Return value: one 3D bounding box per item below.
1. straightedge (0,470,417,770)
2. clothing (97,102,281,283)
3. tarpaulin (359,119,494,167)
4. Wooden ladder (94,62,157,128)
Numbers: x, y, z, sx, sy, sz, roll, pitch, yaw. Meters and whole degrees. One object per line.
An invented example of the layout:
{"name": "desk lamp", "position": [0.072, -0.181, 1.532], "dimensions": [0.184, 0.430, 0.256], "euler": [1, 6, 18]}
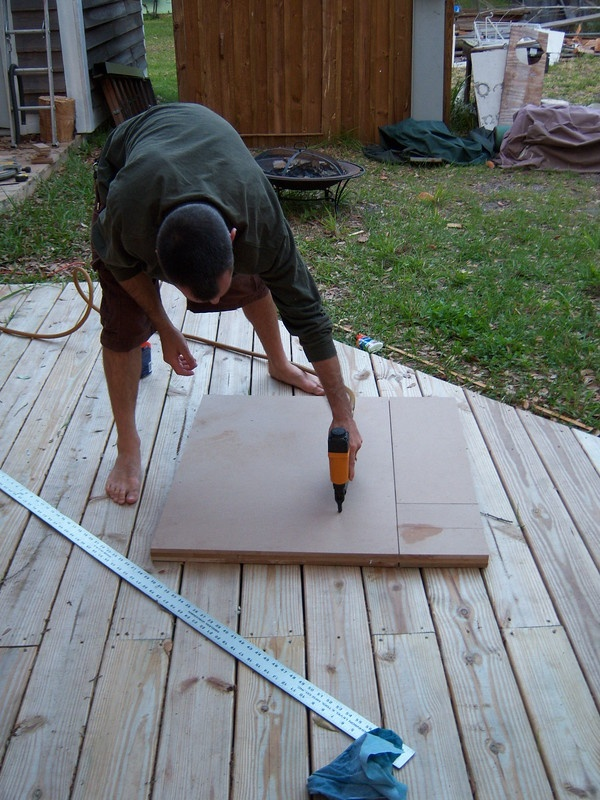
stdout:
{"name": "straightedge", "position": [-0.201, 0.527, 1.297], "dimensions": [1.063, 0.016, 0.081], "euler": [26, 43, 27]}
{"name": "clothing", "position": [-0.343, -0.632, 1.550], "dimensions": [0.461, 0.361, 0.723], "euler": [-8, 45, -22]}
{"name": "tarpaulin", "position": [1.414, -2.629, 5.665], "dimensions": [0.904, 0.290, 0.748], "euler": [3, 40, 3]}
{"name": "Wooden ladder", "position": [-2.001, -3.613, 6.503], "dimensions": [0.113, 0.652, 1.081], "euler": [-5, 31, 17]}
